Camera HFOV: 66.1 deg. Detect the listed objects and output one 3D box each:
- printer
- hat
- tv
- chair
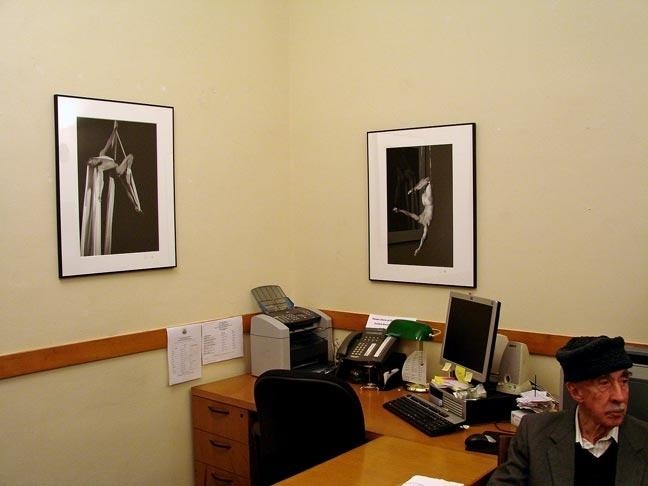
[{"bbox_3d":[-0.212,0.603,3.566,0.632,0.622,0.469,-2,0,43],"label":"printer"},{"bbox_3d":[1.091,0.470,2.038,0.231,0.142,0.207,-17,-2,17],"label":"hat"},{"bbox_3d":[0.861,0.552,2.884,0.070,0.556,0.483,5,1,-27],"label":"tv"},{"bbox_3d":[-0.054,0.847,2.695,0.523,0.810,0.546,-1,-1,22],"label":"chair"}]
